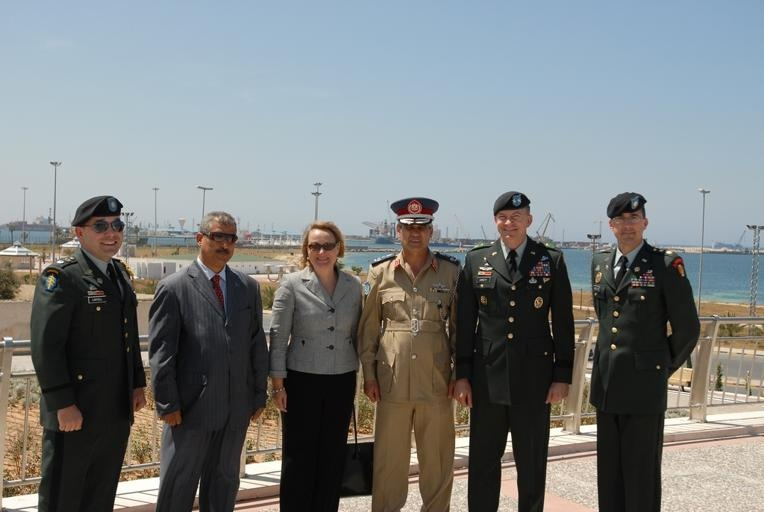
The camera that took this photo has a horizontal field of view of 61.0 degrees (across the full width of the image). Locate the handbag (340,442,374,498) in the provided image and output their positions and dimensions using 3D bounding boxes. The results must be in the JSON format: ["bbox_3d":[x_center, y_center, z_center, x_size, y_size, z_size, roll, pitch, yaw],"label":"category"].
[{"bbox_3d":[-0.254,2.061,6.222,0.555,0.530,0.201,0,8,-1],"label":"handbag"}]

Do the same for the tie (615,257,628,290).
[{"bbox_3d":[2.292,0.157,6.213,0.084,0.330,0.056,4,-23,35],"label":"tie"}]

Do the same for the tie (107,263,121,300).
[{"bbox_3d":[-2.375,0.196,5.730,0.076,0.056,0.467,-9,49,-16],"label":"tie"}]

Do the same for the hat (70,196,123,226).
[{"bbox_3d":[-2.317,-0.347,5.259,0.494,0.152,0.466,-10,2,44],"label":"hat"}]

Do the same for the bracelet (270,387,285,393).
[{"bbox_3d":[-0.974,1.253,6.047,0.119,0.032,0.125,-3,-5,40],"label":"bracelet"}]

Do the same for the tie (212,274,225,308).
[{"bbox_3d":[-1.479,0.315,5.836,0.068,0.236,0.177,-7,-6,9],"label":"tie"}]

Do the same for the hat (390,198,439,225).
[{"bbox_3d":[0.300,-0.387,5.744,0.501,0.225,0.541,0,-8,1],"label":"hat"}]
